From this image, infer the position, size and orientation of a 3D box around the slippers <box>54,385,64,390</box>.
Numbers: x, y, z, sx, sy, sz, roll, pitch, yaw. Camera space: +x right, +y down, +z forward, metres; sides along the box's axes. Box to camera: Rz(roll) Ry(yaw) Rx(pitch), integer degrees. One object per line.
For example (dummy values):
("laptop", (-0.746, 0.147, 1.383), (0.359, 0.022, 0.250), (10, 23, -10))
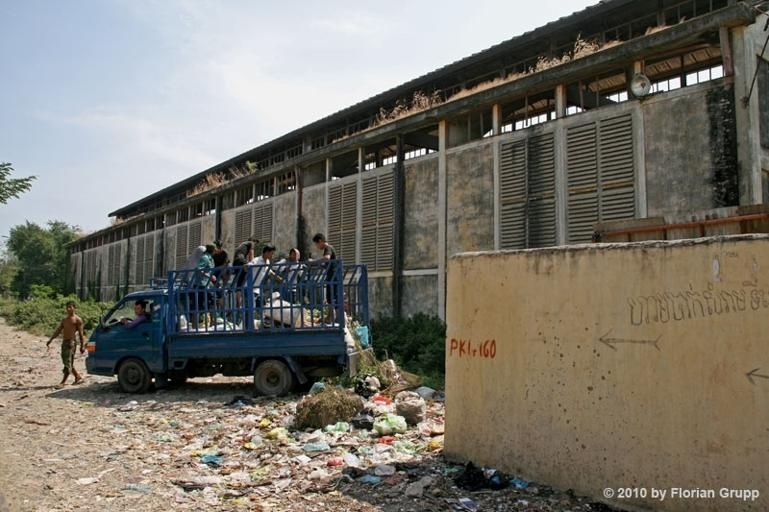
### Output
("slippers", (-7.297, 2.934, 18.111), (0.163, 0.170, 0.081), (7, -18, -4))

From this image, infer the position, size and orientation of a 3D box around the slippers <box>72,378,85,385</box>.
("slippers", (-7.122, 2.918, 18.762), (0.201, 0.194, 0.078), (5, -39, -10))
